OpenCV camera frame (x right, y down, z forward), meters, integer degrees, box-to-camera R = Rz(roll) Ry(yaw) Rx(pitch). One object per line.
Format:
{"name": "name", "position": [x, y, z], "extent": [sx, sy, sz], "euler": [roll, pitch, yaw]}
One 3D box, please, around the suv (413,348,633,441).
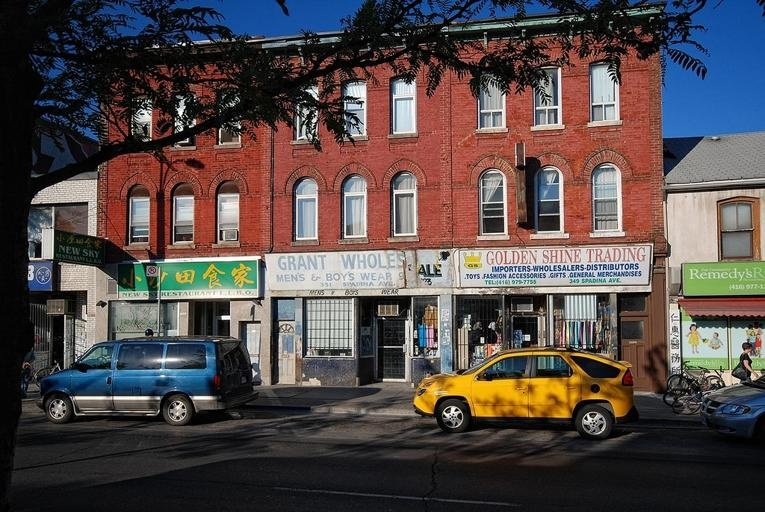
{"name": "suv", "position": [3.675, 3.569, 24.836], "extent": [4.911, 1.816, 2.204], "euler": [1, -7, 10]}

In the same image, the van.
{"name": "van", "position": [-6.415, 3.455, 26.642], "extent": [4.799, 1.773, 2.562], "euler": [1, -6, 5]}
